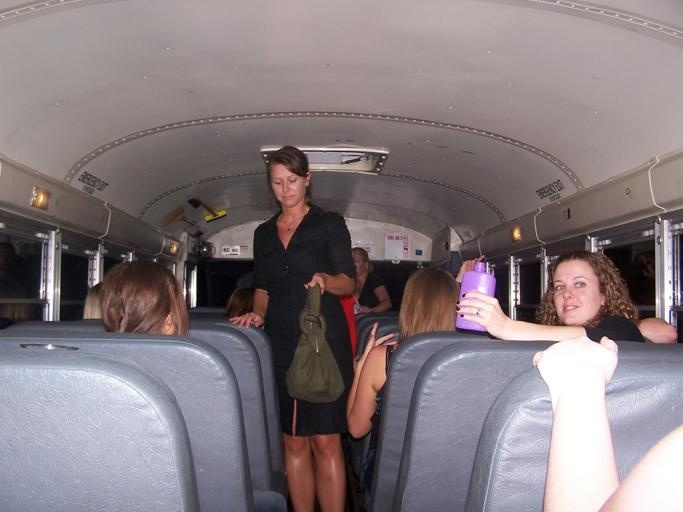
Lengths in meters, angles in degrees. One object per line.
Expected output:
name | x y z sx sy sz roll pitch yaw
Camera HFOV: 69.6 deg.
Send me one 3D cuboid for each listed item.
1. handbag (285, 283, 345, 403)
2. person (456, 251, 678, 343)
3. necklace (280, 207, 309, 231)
handbag | -0.134 0.517 2.837 0.332 0.662 0.247 4 -8 -5
person | 1.064 0.225 2.336 1.007 0.452 0.744 2 -9 -1
necklace | -0.298 -0.255 3.312 0.152 0.153 0.036 6 13 -29
